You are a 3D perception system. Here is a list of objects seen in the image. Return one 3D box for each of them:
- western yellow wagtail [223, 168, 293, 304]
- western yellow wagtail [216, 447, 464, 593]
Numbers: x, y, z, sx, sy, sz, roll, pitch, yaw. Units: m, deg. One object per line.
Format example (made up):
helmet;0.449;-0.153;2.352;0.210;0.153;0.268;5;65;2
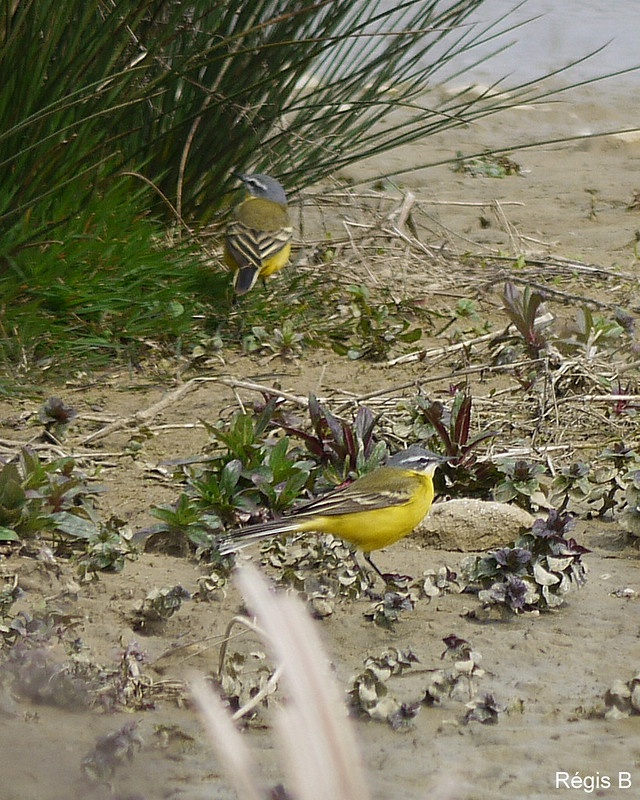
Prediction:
western yellow wagtail;-0.358;-0.941;5.529;0.378;0.680;0.844;4;18;-5
western yellow wagtail;0.016;0.350;2.942;0.777;0.353;0.242;0;5;-29
